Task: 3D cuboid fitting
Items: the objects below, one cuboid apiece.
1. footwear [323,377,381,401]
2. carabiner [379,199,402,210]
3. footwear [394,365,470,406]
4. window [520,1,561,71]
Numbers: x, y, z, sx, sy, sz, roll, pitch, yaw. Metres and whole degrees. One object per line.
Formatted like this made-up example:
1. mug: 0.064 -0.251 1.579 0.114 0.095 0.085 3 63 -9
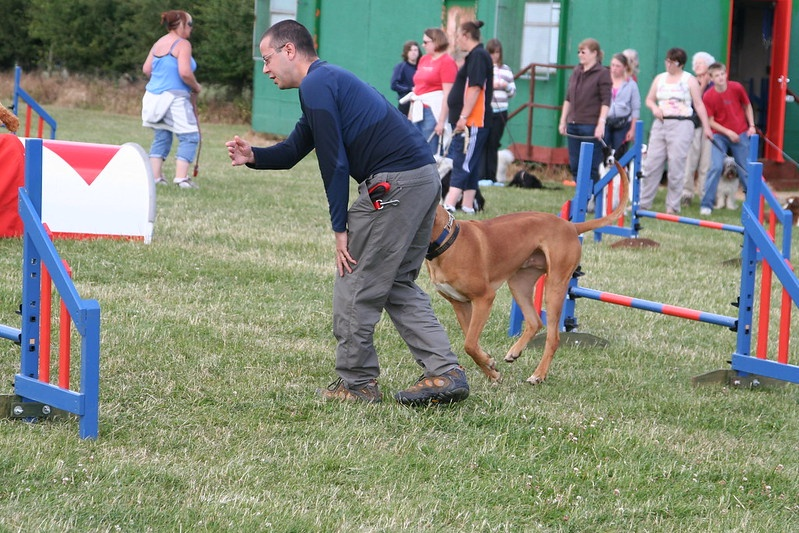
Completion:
1. footwear: -0.454 1.238 15.292 0.608 0.299 0.239 4 6 9
2. carabiner: -0.105 -0.600 14.923 0.162 0.049 0.098 0 -28 2
3. footwear: 0.372 1.234 15.263 0.820 0.495 0.316 -2 -13 3
4. window: 2.334 -3.799 24.735 0.082 1.335 0.930 -8 13 -39
